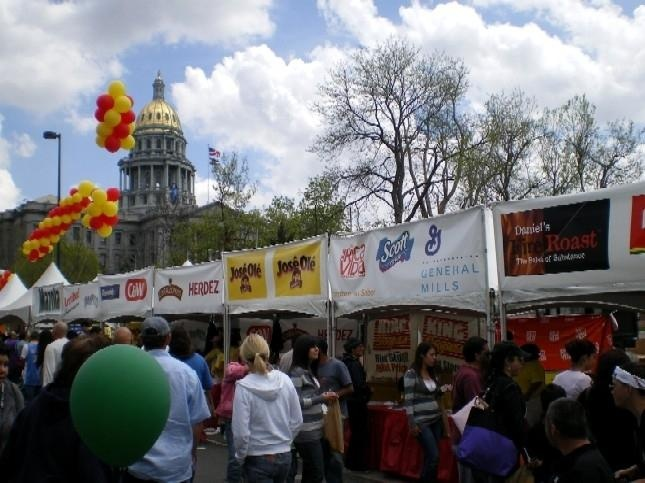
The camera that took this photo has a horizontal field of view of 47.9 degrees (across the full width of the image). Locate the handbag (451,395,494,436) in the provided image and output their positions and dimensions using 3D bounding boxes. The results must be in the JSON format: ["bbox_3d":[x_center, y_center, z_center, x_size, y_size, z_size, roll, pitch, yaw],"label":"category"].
[{"bbox_3d":[1.528,1.756,7.346,0.299,0.309,0.527,-19,5,23],"label":"handbag"}]

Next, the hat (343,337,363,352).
[{"bbox_3d":[0.441,1.528,10.675,0.212,0.185,0.182,-14,4,-7],"label":"hat"}]

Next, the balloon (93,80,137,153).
[{"bbox_3d":[-3.707,-2.160,12.895,0.680,1.018,0.986,-7,4,-17],"label":"balloon"}]

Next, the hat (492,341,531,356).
[{"bbox_3d":[1.956,1.100,7.408,0.411,0.172,0.272,-2,2,-6],"label":"hat"}]
